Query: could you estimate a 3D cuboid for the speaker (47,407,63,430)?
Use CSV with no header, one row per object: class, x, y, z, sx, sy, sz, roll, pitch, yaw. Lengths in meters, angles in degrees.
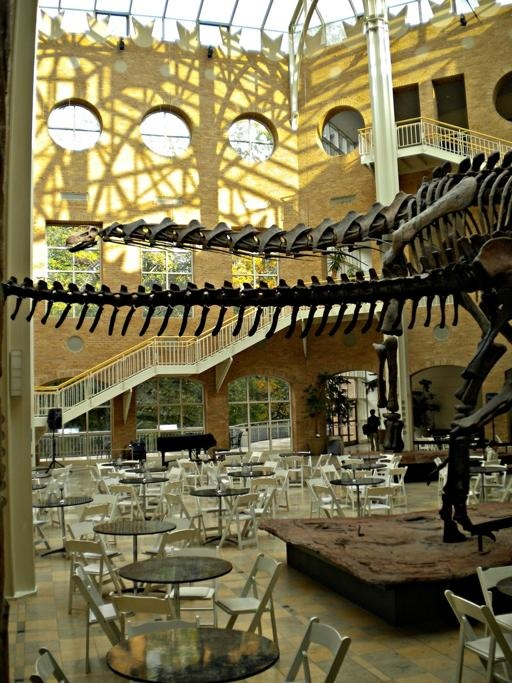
speaker,-4.438,1.729,15.649,0.279,0.496,0.298,0,-5,-23
